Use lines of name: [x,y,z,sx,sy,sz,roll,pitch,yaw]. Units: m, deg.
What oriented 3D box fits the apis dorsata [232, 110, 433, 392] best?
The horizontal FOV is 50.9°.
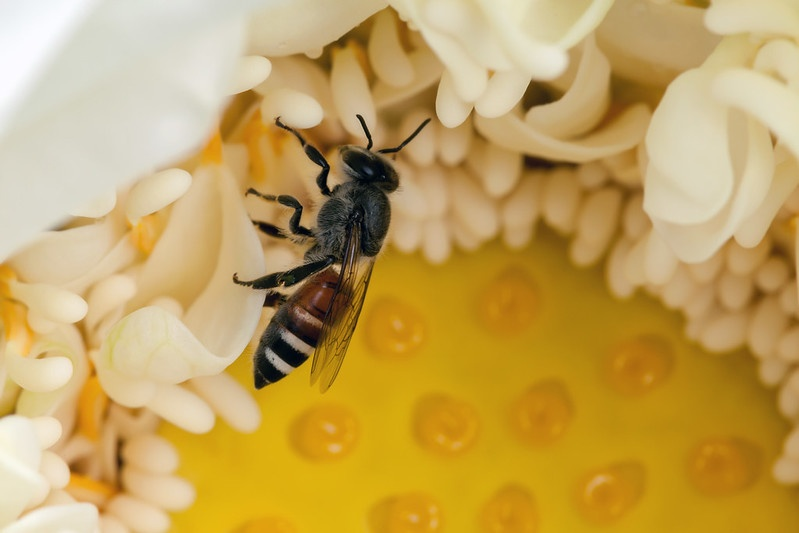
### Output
apis dorsata: [-0.105,-0.049,1.161,0.230,0.357,0.097,13,4,-44]
